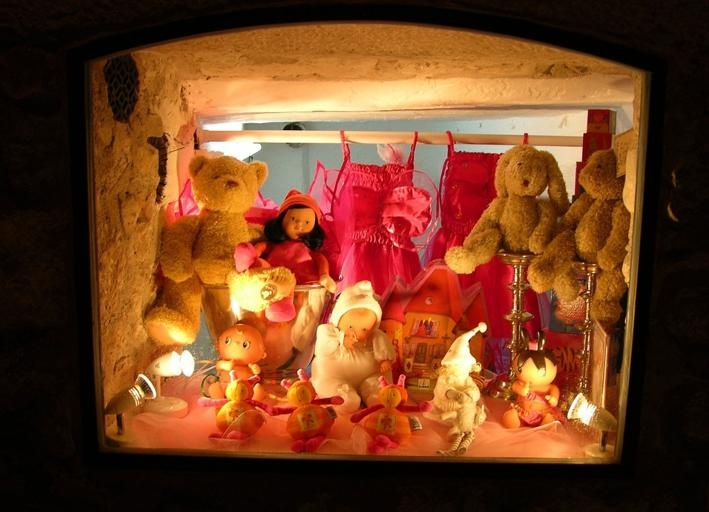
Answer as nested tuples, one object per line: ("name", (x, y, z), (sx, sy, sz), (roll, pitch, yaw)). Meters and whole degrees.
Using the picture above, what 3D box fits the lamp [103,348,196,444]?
("lamp", (-0.483, 0.335, 1.337), (0.081, 0.084, 0.220), (7, 9, 16))

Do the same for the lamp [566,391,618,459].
("lamp", (0.505, 0.357, 1.205), (0.124, 0.125, 0.069), (5, -10, 7))
